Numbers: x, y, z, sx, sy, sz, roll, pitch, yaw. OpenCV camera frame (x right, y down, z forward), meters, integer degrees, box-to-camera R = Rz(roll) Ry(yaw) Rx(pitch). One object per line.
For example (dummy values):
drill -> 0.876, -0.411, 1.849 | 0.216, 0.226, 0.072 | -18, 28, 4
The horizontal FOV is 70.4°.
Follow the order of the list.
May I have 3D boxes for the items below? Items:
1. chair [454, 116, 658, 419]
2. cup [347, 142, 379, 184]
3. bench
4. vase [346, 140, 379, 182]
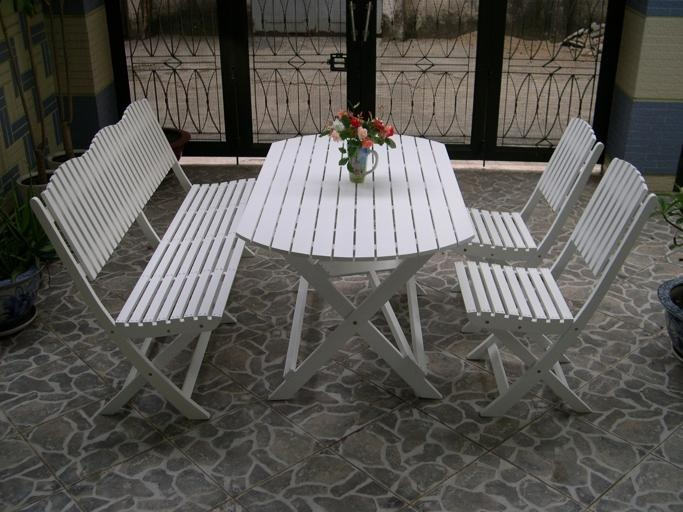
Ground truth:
chair -> 1.049, 0.150, 2.614 | 0.828, 1.250, 0.868 | 5, 28, 10
cup -> 0.121, -0.541, 2.912 | 0.215, 0.200, 0.134 | -5, 8, -23
bench -> -1.094, -0.069, 2.975 | 0.922, 1.334, 1.778 | -7, 28, -12
vase -> 0.124, -0.565, 2.925 | 0.236, 0.221, 0.150 | 2, 31, 5
